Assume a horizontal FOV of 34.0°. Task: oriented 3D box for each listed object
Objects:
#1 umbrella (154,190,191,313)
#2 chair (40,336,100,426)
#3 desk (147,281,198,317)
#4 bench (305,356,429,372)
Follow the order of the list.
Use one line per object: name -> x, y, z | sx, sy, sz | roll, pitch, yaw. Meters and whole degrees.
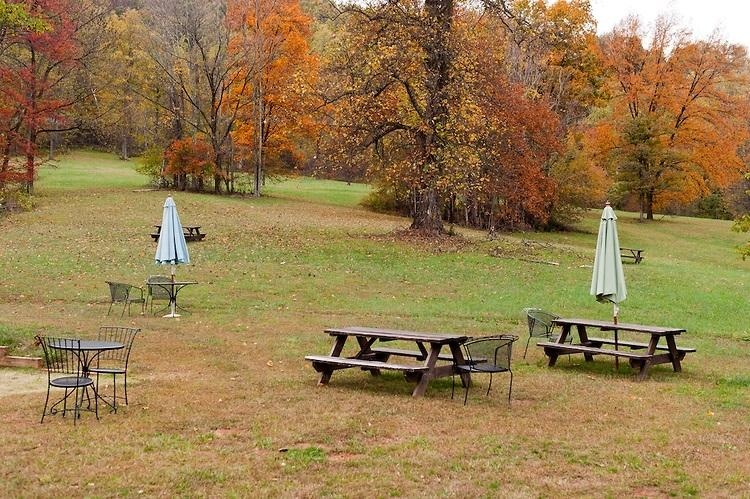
umbrella -> -10.460, 0.096, 63.801 | 1.976, 5.579, 1.844 | -4, 0, -23
chair -> -13.829, 5.973, 56.456 | 2.416, 3.652, 2.357 | 4, -1, 34
desk -> -10.449, 2.559, 63.596 | 2.576, 1.738, 2.590 | 0, 0, -15
bench -> -0.568, 5.442, 57.018 | 5.231, 0.576, 0.791 | 3, 1, 8
